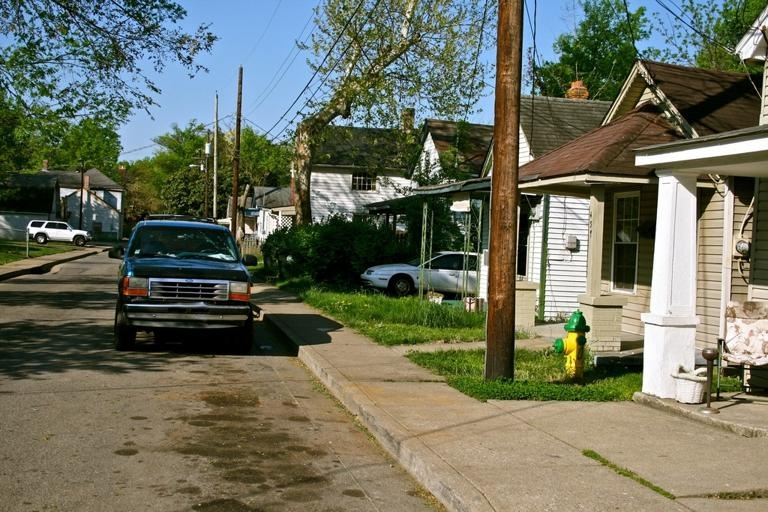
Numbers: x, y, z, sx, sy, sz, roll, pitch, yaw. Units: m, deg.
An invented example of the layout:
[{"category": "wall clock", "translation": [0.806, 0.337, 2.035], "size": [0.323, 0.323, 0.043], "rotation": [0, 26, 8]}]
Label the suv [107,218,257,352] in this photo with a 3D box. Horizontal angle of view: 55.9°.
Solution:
[{"category": "suv", "translation": [-3.827, 0.559, 13.562], "size": [2.471, 2.462, 2.115], "rotation": [1, 0, -21]}]

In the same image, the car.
[{"category": "car", "translation": [1.164, 0.646, 23.783], "size": [3.720, 1.154, 1.571], "rotation": [2, -1, -1]}]

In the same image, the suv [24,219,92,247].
[{"category": "suv", "translation": [-28.014, -1.996, 61.809], "size": [4.347, 2.177, 2.355], "rotation": [1, 0, -22]}]
